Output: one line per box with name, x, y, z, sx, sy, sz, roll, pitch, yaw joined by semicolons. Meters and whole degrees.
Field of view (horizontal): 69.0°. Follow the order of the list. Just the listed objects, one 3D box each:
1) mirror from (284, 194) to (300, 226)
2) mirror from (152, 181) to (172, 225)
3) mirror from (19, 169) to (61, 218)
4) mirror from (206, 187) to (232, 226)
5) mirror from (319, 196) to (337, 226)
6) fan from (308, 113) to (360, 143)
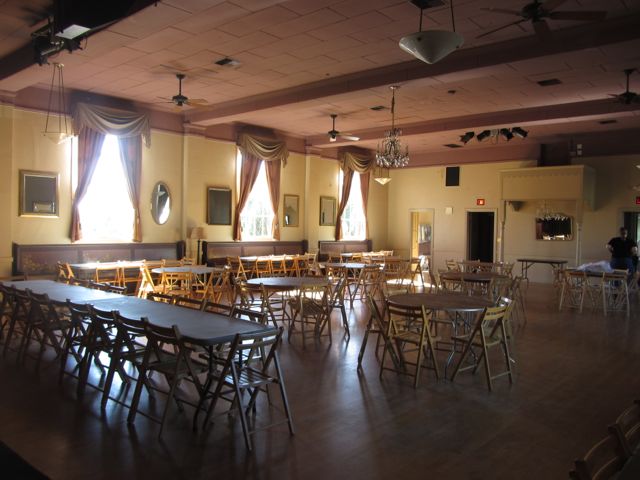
mirror;-0.893;-0.939;14.310;0.095;1.215;0.922;-2;-4;35
mirror;-3.923;-0.910;11.548;0.097;1.037;0.489;0;2;36
mirror;-5.860;-0.983;9.676;0.997;1.269;0.093;-2;2;-44
mirror;-2.726;-0.905;12.404;0.143;1.348;1.021;-1;-1;41
mirror;0.238;-0.970;15.281;0.067;0.985;0.944;-2;-3;35
fan;0.546;-2.861;12.232;0.760;0.397;0.778;0;1;-19
